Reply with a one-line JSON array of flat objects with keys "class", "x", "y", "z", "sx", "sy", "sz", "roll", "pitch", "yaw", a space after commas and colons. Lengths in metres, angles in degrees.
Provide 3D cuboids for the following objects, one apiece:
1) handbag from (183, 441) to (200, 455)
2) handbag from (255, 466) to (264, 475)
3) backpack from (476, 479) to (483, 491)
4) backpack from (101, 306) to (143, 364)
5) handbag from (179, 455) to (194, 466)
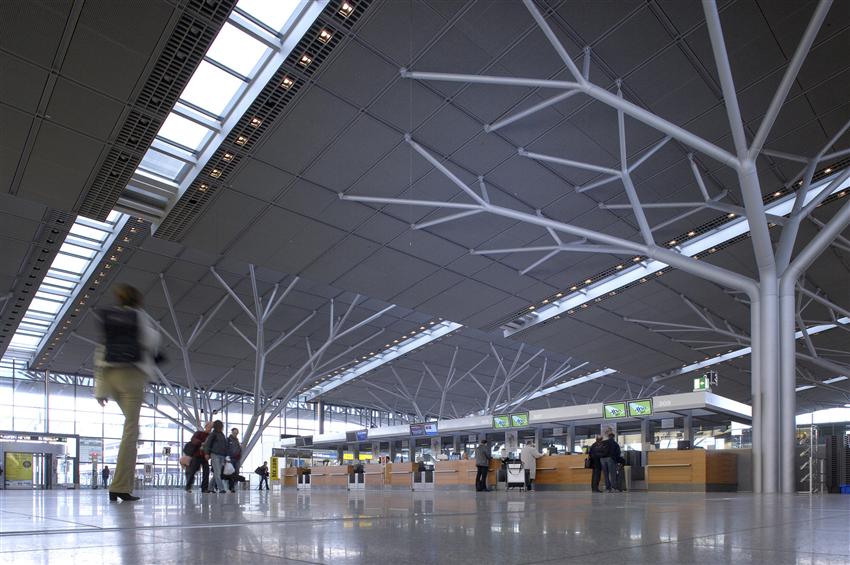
[{"class": "handbag", "x": -7.703, "y": 5.532, "z": 20.459, "sx": 0.483, "sy": 0.456, "sz": 0.482, "roll": 5, "pitch": -17, "yaw": -17}, {"class": "handbag", "x": -10.730, "y": 12.365, "z": 40.568, "sx": 0.493, "sy": 0.502, "sz": 0.808, "roll": 6, "pitch": -17, "yaw": -21}, {"class": "backpack", "x": 2.086, "y": 7.908, "z": 23.937, "sx": 0.196, "sy": 0.318, "sz": 0.610, "roll": 5, "pitch": -16, "yaw": -15}, {"class": "backpack", "x": -5.074, "y": 0.898, "z": 10.383, "sx": 0.709, "sy": 0.941, "sz": 0.268, "roll": 7, "pitch": -18, "yaw": -22}, {"class": "handbag", "x": -7.826, "y": 5.870, "z": 20.324, "sx": 0.354, "sy": 0.328, "sz": 0.881, "roll": 6, "pitch": -17, "yaw": -20}]
